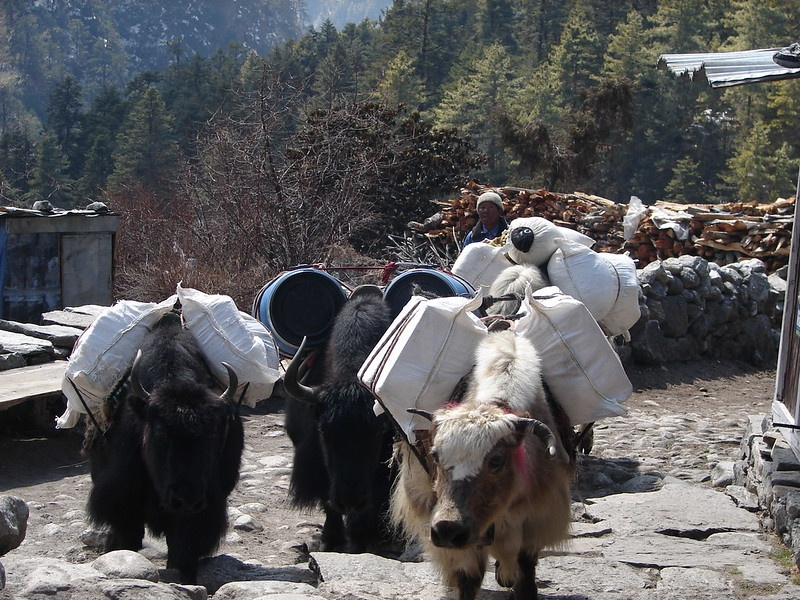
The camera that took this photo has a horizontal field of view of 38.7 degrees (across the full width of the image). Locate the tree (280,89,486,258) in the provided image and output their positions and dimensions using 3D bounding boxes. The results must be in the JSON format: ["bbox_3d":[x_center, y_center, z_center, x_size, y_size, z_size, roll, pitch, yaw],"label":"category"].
[{"bbox_3d":[-0.569,-2.648,23.399,3.601,2.613,3.626,-3,11,8],"label":"tree"}]

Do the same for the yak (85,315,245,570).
[{"bbox_3d":[-2.414,1.550,11.562,1.399,2.509,0.848,2,5,17],"label":"yak"}]

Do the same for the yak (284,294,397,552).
[{"bbox_3d":[-0.624,1.330,11.973,1.141,2.676,1.144,1,4,-2],"label":"yak"}]

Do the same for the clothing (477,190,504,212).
[{"bbox_3d":[1.192,-1.266,14.706,0.296,0.212,0.294,4,-8,-37],"label":"clothing"}]
